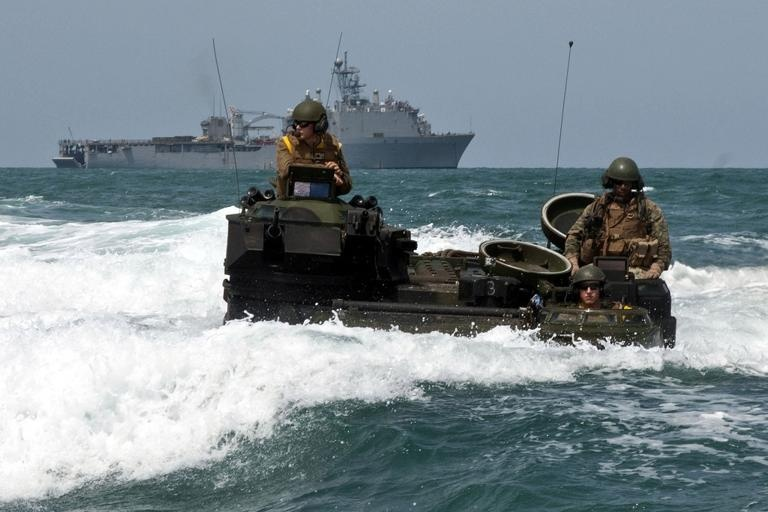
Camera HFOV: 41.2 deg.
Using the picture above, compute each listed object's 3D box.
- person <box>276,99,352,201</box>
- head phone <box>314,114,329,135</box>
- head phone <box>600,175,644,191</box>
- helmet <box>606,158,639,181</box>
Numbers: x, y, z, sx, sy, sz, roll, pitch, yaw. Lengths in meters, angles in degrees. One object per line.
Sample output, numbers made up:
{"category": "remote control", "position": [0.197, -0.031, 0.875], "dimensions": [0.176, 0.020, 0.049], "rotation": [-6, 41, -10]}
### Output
{"category": "person", "position": [-1.066, -1.286, 15.487], "dimensions": [1.217, 1.948, 1.130], "rotation": [-4, 3, -39]}
{"category": "head phone", "position": [-0.929, -1.972, 15.438], "dimensions": [0.190, 0.320, 0.230], "rotation": [7, -1, -5]}
{"category": "head phone", "position": [3.757, -1.128, 15.992], "dimensions": [0.363, 0.201, 0.519], "rotation": [4, 0, -1]}
{"category": "helmet", "position": [3.733, -1.320, 15.900], "dimensions": [0.529, 0.358, 0.336], "rotation": [2, 5, 12]}
